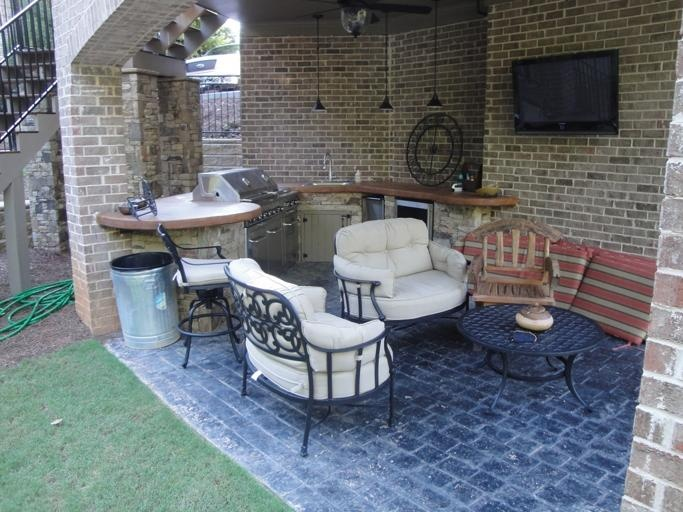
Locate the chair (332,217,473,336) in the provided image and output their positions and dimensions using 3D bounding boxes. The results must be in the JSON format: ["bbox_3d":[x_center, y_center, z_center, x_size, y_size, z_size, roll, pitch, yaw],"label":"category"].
[{"bbox_3d":[0.562,0.113,4.975,1.362,0.652,1.030,-8,26,-26],"label":"chair"}]

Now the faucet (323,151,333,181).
[{"bbox_3d":[-0.214,-1.467,8.342,0.149,0.419,0.090,0,19,13],"label":"faucet"}]

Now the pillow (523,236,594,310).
[{"bbox_3d":[2.305,0.192,5.519,0.942,0.534,0.898,-7,0,19],"label":"pillow"}]

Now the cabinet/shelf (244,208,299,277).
[{"bbox_3d":[-0.841,-0.176,6.144,0.404,0.558,0.992,1,12,13],"label":"cabinet/shelf"}]

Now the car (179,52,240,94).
[{"bbox_3d":[-3.243,-4.693,13.288,1.313,1.063,2.066,-7,16,-13],"label":"car"}]

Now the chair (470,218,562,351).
[{"bbox_3d":[1.602,0.230,4.835,0.903,0.873,0.769,-1,22,2],"label":"chair"}]

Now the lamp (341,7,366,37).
[{"bbox_3d":[0.132,-2.536,5.626,0.304,0.263,0.297,-1,29,0],"label":"lamp"}]

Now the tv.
[{"bbox_3d":[2.439,-1.757,5.558,1.328,0.804,0.102,10,27,41],"label":"tv"}]

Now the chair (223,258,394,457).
[{"bbox_3d":[-0.285,0.657,3.500,1.049,1.204,0.600,6,20,27],"label":"chair"}]

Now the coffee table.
[{"bbox_3d":[1.468,0.782,4.113,1.072,0.585,0.973,-1,15,6],"label":"coffee table"}]
